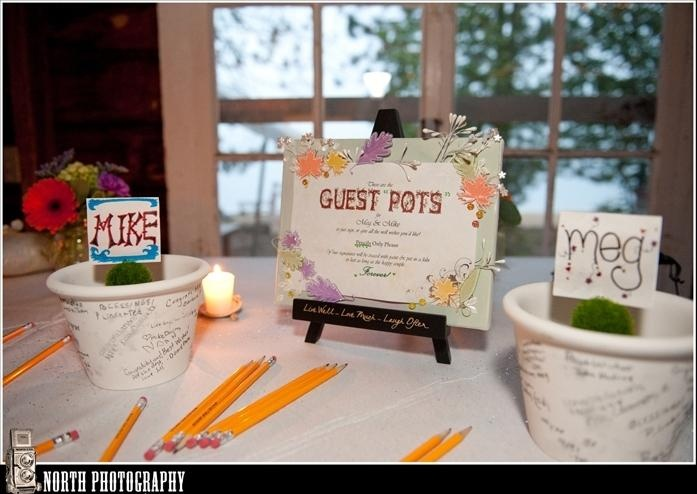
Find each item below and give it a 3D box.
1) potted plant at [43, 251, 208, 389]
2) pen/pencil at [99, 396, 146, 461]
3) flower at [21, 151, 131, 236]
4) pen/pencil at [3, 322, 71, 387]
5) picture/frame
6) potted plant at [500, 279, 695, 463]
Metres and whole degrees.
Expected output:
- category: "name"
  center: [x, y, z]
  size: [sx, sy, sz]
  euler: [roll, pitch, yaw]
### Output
- category: "potted plant"
  center: [-0.461, 0.174, 1.205]
  size: [0.307, 0.223, 0.304]
  euler: [-2, 10, -8]
- category: "pen/pencil"
  center: [-0.443, 0.359, 1.127]
  size: [0.023, 0.024, 0.162]
  euler: [25, 33, -1]
- category: "flower"
  center: [-0.753, -0.140, 1.520]
  size: [0.275, 0.296, 0.136]
  euler: [-7, -14, -35]
- category: "pen/pencil"
  center: [-0.725, 0.248, 1.375]
  size: [0.030, 0.024, 0.281]
  euler: [29, 28, 10]
- category: "picture/frame"
  center: [0.096, -0.036, 1.319]
  size: [0.469, 0.342, 0.011]
  euler: [4, 0, 16]
- category: "potted plant"
  center: [0.476, 0.212, 1.150]
  size: [0.328, 0.242, 0.328]
  euler: [3, 4, 15]
